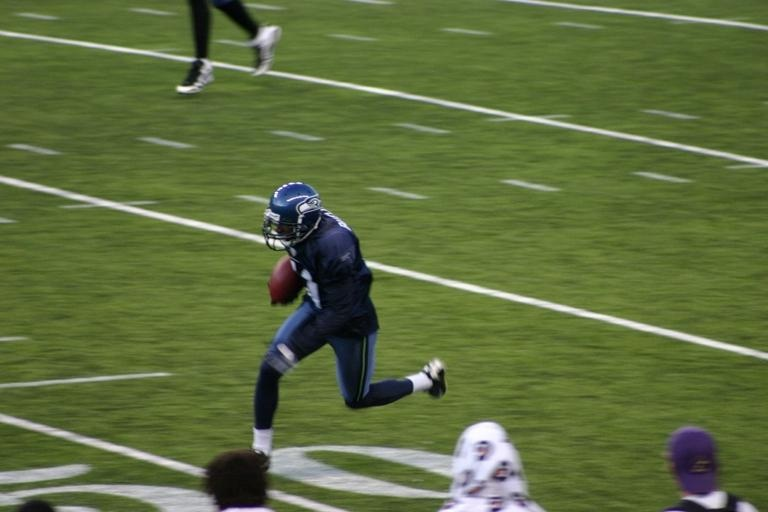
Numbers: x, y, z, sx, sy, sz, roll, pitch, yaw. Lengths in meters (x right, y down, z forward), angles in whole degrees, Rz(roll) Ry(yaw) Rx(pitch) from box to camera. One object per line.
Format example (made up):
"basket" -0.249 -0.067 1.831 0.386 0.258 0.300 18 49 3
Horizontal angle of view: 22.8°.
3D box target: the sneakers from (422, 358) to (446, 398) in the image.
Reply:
"sneakers" 0.450 1.000 15.760 0.209 0.310 0.189 -17 3 6
